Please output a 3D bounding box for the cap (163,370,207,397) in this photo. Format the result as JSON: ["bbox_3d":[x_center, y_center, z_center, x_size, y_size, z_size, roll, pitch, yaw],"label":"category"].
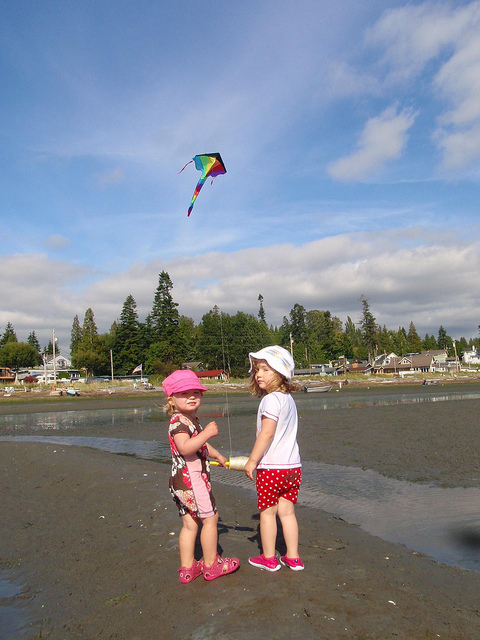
[{"bbox_3d":[-0.461,0.467,3.692,0.212,0.151,0.295,2,-7,-27],"label":"cap"}]

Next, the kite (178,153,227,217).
[{"bbox_3d":[-0.550,-2.039,7.233,0.584,0.117,1.458,25,-29,-16],"label":"kite"}]

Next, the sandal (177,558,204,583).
[{"bbox_3d":[-0.348,1.795,3.515,0.083,0.113,0.243,-5,-9,22],"label":"sandal"}]

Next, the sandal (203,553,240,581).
[{"bbox_3d":[-0.132,1.779,3.574,0.295,0.148,0.114,-3,0,-36],"label":"sandal"}]

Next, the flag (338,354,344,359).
[{"bbox_3d":[24.605,8.730,118.323,1.131,0.831,1.653,-7,-6,11],"label":"flag"}]

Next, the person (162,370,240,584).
[{"bbox_3d":[-0.290,1.098,3.498,0.440,1.499,0.476,-5,-6,-3],"label":"person"}]
